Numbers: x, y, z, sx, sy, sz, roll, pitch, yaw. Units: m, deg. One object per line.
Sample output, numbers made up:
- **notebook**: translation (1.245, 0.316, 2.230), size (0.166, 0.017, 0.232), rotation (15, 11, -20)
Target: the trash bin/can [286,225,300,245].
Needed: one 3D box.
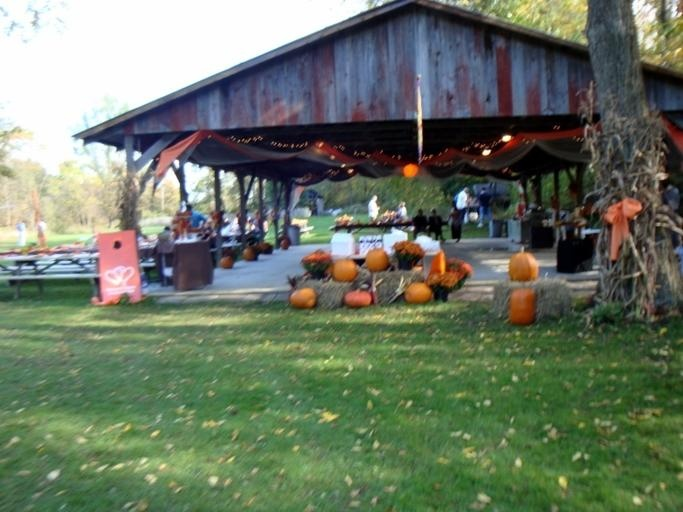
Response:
- **trash bin/can**: translation (-2.009, -0.887, 21.670), size (0.609, 0.811, 0.673), rotation (-1, -1, 1)

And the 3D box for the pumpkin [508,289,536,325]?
- **pumpkin**: translation (2.317, 0.657, 6.587), size (0.347, 0.564, 0.374), rotation (2, -3, -24)

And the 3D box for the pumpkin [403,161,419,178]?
- **pumpkin**: translation (1.851, -2.334, 13.838), size (0.309, 0.370, 0.339), rotation (3, 9, 37)

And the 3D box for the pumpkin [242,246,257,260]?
- **pumpkin**: translation (-2.917, -0.117, 16.367), size (0.367, 0.489, 0.406), rotation (15, 23, -6)

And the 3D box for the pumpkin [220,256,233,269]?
- **pumpkin**: translation (-3.188, 0.145, 14.330), size (0.286, 0.320, 0.313), rotation (10, 24, 38)

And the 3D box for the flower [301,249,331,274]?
- **flower**: translation (-0.433, 0.101, 9.399), size (0.395, 0.356, 0.434), rotation (0, -4, -3)

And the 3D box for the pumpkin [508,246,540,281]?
- **pumpkin**: translation (2.597, 0.088, 7.269), size (0.392, 0.635, 0.409), rotation (-3, 3, -12)

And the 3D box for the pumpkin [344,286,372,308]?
- **pumpkin**: translation (0.293, 0.682, 8.307), size (0.294, 0.259, 0.304), rotation (2, 9, 42)

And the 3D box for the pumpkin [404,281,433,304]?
- **pumpkin**: translation (1.256, 0.605, 8.340), size (0.325, 0.364, 0.332), rotation (-10, 10, -22)

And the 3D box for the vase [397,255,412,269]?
- **vase**: translation (1.096, 0.103, 8.963), size (0.191, 0.225, 0.215), rotation (0, 3, 12)

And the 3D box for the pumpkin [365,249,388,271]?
- **pumpkin**: translation (0.645, 0.071, 9.035), size (0.425, 0.375, 0.291), rotation (-3, 9, -3)

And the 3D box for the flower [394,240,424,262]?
- **flower**: translation (1.147, -0.104, 8.965), size (0.334, 0.292, 0.351), rotation (2, 4, -13)

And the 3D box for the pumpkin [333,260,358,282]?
- **pumpkin**: translation (0.048, 0.218, 8.813), size (0.333, 0.382, 0.367), rotation (0, 3, 4)

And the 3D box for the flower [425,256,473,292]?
- **flower**: translation (1.823, 0.304, 8.663), size (0.449, 0.340, 0.695), rotation (1, 5, 0)

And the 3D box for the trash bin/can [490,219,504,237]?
- **trash bin/can**: translation (7.022, -1.314, 23.197), size (0.635, 0.814, 1.750), rotation (1, 10, 21)

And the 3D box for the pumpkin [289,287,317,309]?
- **pumpkin**: translation (-0.642, 0.700, 8.353), size (0.392, 0.364, 0.341), rotation (0, -4, 16)
